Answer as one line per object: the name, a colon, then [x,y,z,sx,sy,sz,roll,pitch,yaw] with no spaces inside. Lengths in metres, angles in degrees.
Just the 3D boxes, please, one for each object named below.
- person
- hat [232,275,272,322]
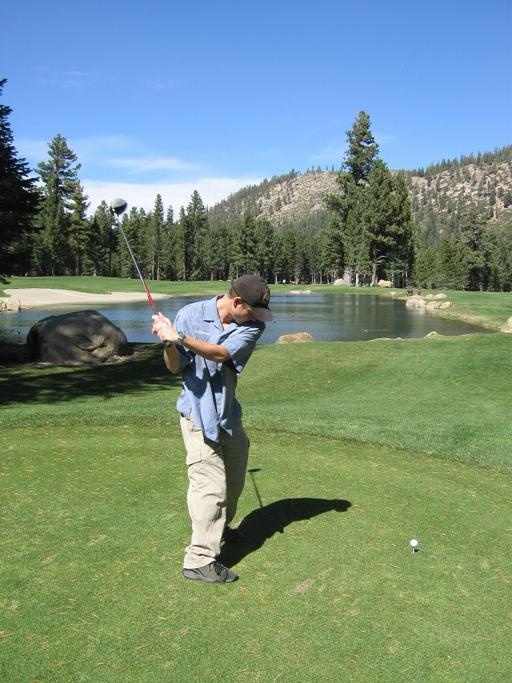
person: [-0.321,0.523,3.629,0.720,1.913,0.556,3,2,-7]
hat: [-0.002,-0.286,3.645,0.197,0.337,0.224,-45,-12,29]
